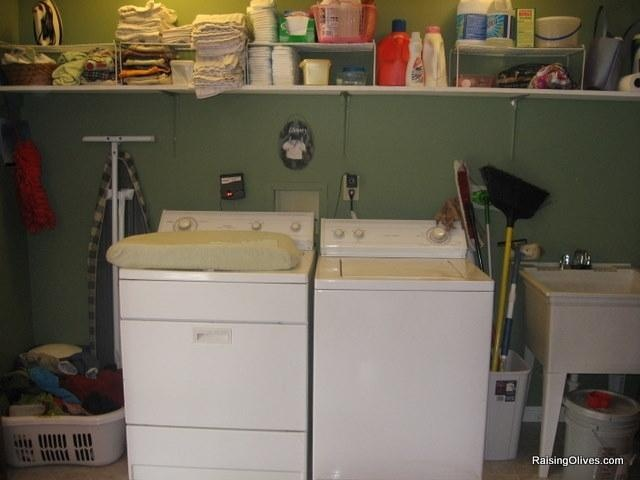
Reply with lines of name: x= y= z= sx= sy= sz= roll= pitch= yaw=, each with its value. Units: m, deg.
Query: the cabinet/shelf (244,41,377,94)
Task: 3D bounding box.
cabinet/shelf: x=-0.044 y=-1.066 z=3.509 sx=0.774 sy=0.260 sz=0.313 roll=-1 pitch=11 yaw=5

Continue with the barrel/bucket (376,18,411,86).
barrel/bucket: x=0.436 y=-1.115 z=3.422 sx=0.185 sy=0.381 sz=0.080 roll=0 pitch=11 yaw=10

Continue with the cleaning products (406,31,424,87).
cleaning products: x=0.557 y=-1.059 z=3.384 sx=0.105 sy=0.307 sz=0.071 roll=-1 pitch=11 yaw=5

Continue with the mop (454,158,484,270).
mop: x=0.908 y=-0.174 z=3.527 sx=0.110 sy=1.066 sz=0.134 roll=-4 pitch=0 yaw=-19

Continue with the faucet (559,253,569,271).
faucet: x=1.544 y=0.141 z=3.608 sx=0.067 sy=0.080 sz=0.070 roll=0 pitch=-1 yaw=-35

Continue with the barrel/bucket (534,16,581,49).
barrel/bucket: x=1.394 y=-1.221 z=3.375 sx=0.194 sy=0.134 sz=0.217 roll=2 pitch=21 yaw=11
